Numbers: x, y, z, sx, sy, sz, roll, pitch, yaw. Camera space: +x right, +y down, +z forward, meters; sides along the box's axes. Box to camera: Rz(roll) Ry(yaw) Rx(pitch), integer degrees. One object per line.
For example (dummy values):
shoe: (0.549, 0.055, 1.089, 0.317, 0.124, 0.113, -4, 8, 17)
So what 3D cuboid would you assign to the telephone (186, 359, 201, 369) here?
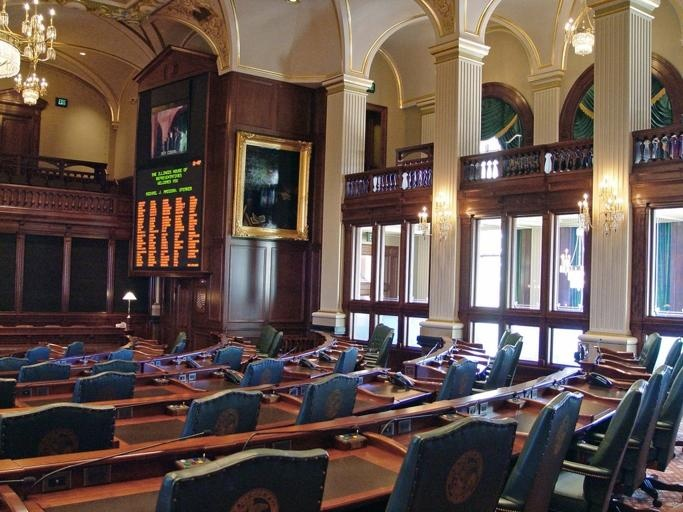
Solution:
telephone: (-1.480, 1.120, 5.657, 0.027, 0.070, 0.191, 31, -7, -30)

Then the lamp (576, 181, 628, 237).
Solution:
lamp: (3.947, -0.678, 8.449, 0.640, 0.995, 0.668, 3, -6, -14)

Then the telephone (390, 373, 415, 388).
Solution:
telephone: (0.538, 1.076, 4.859, 0.093, 0.067, 0.168, -6, 12, -40)

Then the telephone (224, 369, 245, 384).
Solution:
telephone: (-0.994, 1.109, 5.150, 0.217, 0.076, 0.162, 11, 1, 41)

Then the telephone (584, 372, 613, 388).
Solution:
telephone: (2.343, 1.131, 5.078, 0.108, 0.058, 0.153, 6, 1, -36)

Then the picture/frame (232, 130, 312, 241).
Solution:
picture/frame: (-1.546, -1.473, 11.887, 2.062, 2.671, 0.212, 5, -3, -37)

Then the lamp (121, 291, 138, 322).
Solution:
lamp: (-5.251, 1.245, 13.820, 0.368, 0.739, 0.811, 2, -2, -20)

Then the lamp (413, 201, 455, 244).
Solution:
lamp: (1.682, -0.605, 10.199, 0.451, 0.712, 0.813, 2, -1, -15)
